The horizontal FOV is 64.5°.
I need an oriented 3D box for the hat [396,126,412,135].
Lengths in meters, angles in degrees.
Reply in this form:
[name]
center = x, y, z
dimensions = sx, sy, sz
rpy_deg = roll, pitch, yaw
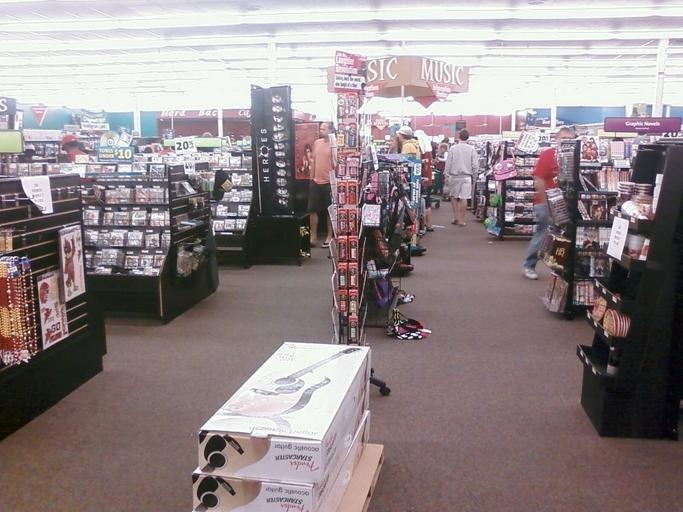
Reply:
[hat]
center = 1.223, -2.425, 10.525
dimensions = 0.213, 0.141, 0.278
rpy_deg = -7, 28, -29
